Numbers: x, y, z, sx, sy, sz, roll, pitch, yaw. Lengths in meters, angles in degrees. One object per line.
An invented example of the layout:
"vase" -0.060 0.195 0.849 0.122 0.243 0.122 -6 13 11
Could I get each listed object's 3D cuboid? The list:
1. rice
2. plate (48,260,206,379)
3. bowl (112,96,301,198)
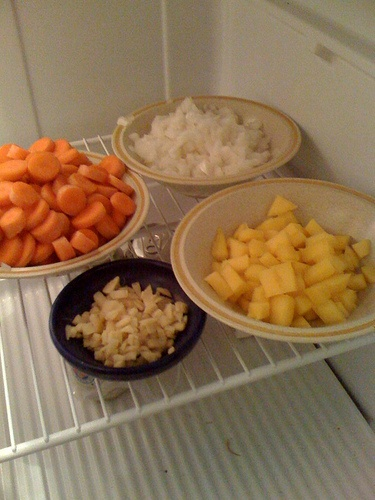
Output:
"rice" 0.038 -0.237 0.975 0.254 0.098 0.235 -9 36 -3
"plate" -0.105 0.118 0.732 0.232 0.089 0.262 -17 44 -18
"bowl" 0.046 -0.243 0.958 0.327 0.078 0.297 -12 50 -7
